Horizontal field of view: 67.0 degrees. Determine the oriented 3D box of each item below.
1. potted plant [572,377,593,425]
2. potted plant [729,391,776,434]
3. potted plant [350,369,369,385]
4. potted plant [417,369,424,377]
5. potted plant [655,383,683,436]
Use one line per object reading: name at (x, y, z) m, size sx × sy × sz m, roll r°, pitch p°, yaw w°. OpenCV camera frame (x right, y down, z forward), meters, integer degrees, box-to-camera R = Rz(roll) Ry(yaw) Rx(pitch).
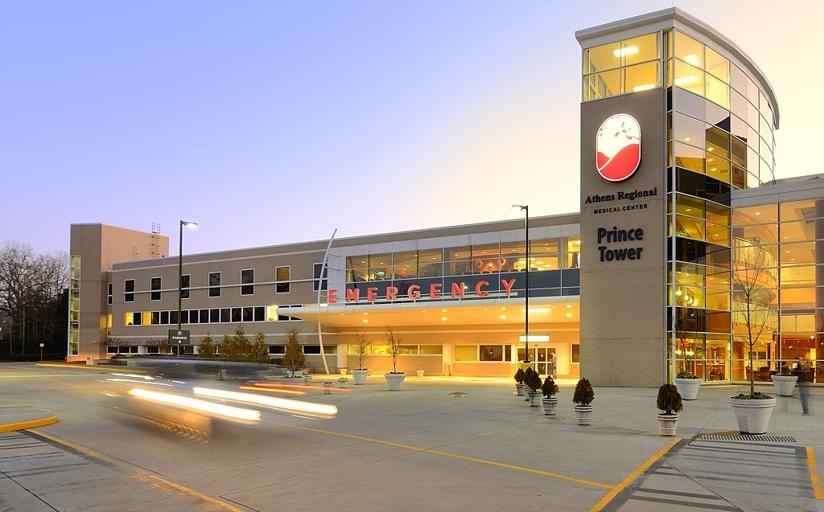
potted plant at (7.951, 6.709, 28.877) m, size 0.783 × 2.131 × 1.116 m, roll -3°, pitch -12°, yaw 14°
potted plant at (14.580, 6.727, 26.828) m, size 1.737 × 1.268 × 1.726 m, roll -1°, pitch -3°, yaw 16°
potted plant at (-4.142, 9.416, 49.090) m, size 1.473 × 1.105 × 1.163 m, roll 0°, pitch -11°, yaw -5°
potted plant at (0.769, 10.803, 57.692) m, size 0.626 × 0.484 × 0.610 m, roll 4°, pitch -7°, yaw 0°
potted plant at (11.105, 6.584, 26.909) m, size 0.911 × 2.160 × 1.341 m, roll -5°, pitch -12°, yaw 23°
